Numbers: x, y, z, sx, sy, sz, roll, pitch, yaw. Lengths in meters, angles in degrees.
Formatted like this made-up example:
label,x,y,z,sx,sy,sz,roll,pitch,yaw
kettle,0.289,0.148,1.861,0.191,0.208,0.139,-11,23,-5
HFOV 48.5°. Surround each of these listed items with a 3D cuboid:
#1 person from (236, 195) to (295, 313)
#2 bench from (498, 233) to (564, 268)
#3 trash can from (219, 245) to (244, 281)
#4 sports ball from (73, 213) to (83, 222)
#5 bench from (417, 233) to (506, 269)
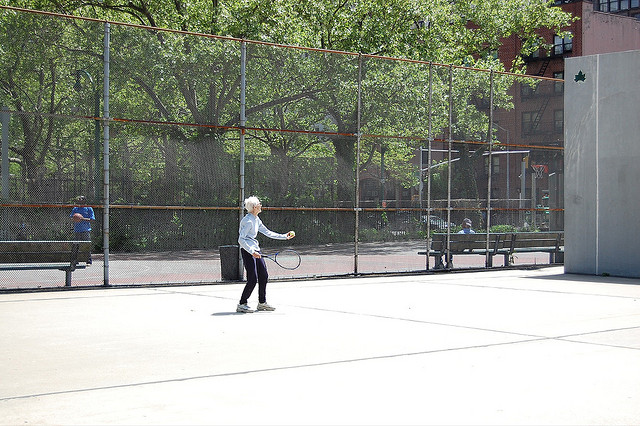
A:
label,x,y,z,sx,sy,sz,roll,pitch,yaw
person,-1.263,0.809,14.648,0.795,2.320,1.047,0,1,15
bench,6.853,1.166,22.866,2.739,1.047,0.898,0,0,-42
trash can,-2.280,1.289,18.560,0.641,0.934,0.406,0,1,-11
sports ball,-5.746,0.091,16.901,0.198,0.194,0.115,-1,1,-22
bench,4.483,1.196,21.757,2.554,0.905,0.908,-3,9,45
